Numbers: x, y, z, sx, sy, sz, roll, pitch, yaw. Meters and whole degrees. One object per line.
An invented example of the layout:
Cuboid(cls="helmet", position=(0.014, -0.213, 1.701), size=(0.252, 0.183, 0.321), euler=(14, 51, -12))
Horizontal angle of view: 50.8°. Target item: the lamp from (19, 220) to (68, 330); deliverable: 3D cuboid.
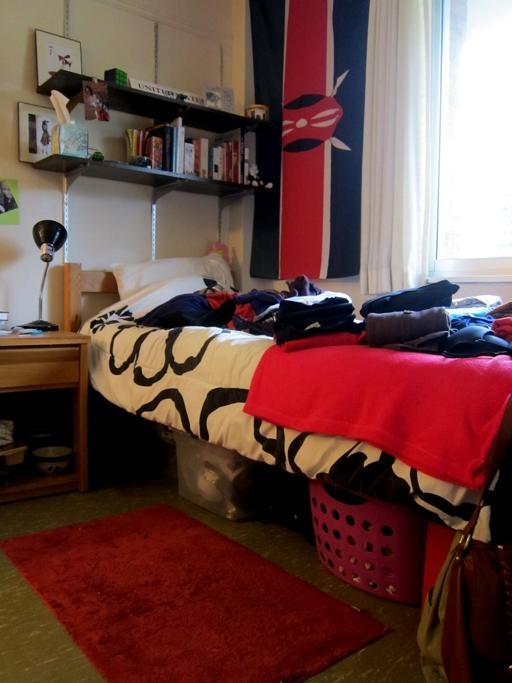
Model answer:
Cuboid(cls="lamp", position=(-0.933, -0.297, 2.383), size=(0.184, 0.506, 0.567), euler=(0, 1, -20))

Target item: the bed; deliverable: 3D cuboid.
Cuboid(cls="bed", position=(-0.015, 0.053, 1.470), size=(0.903, 0.300, 0.542), euler=(17, 16, 39))

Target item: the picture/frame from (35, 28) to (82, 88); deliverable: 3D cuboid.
Cuboid(cls="picture/frame", position=(-0.929, -1.351, 2.558), size=(0.209, 0.227, 0.006), euler=(-2, -9, -14))

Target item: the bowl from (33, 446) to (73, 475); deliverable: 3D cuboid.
Cuboid(cls="bowl", position=(-0.808, 0.460, 2.115), size=(0.110, 0.063, 0.107), euler=(2, 4, 0))

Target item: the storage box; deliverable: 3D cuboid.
Cuboid(cls="storage box", position=(-0.121, 0.440, 1.853), size=(0.296, 0.209, 0.240), euler=(13, 12, 37))

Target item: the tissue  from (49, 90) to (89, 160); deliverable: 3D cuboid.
Cuboid(cls="tissue ", position=(-0.840, -0.968, 2.403), size=(0.155, 0.299, 0.123), euler=(-1, 3, -20))
